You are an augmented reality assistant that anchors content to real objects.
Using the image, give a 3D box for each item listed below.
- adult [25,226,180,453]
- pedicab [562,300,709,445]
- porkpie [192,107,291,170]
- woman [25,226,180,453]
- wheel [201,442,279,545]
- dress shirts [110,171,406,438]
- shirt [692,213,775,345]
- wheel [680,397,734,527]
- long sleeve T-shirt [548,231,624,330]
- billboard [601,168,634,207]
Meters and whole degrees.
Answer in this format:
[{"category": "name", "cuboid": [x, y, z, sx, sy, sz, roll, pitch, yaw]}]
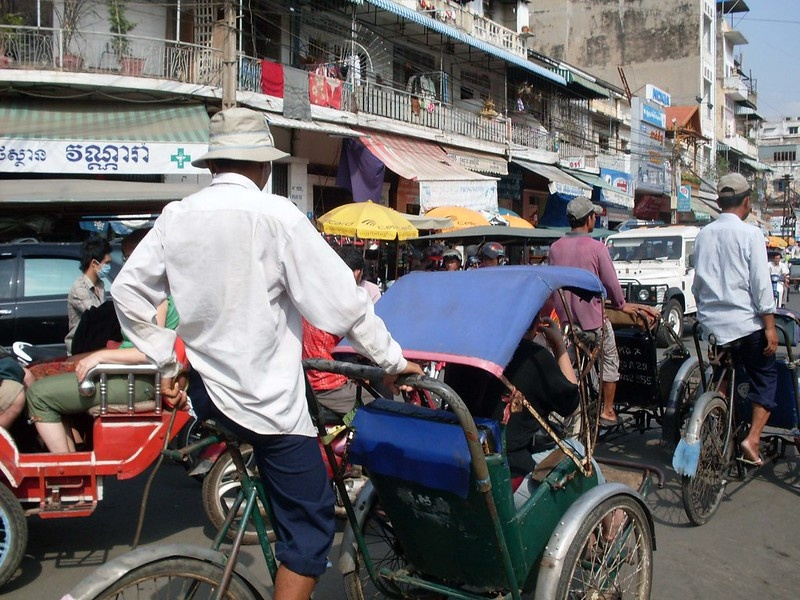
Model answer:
[{"category": "adult", "cuboid": [-2.228, 0.426, 6.318, 0.923, 1.856, 0.696, 1, 12, -21]}, {"category": "pedicab", "cuboid": [2.089, 0.644, 7.947, 1.555, 1.259, 0.972, 0, 1, -41]}, {"category": "porkpie", "cuboid": [-0.936, -0.911, 4.920, 0.567, 0.335, 0.576, -6, 7, -9]}, {"category": "woman", "cuboid": [-2.237, 0.500, 6.394, 1.014, 2.009, 0.755, 5, 1, -32]}, {"category": "wheel", "cuboid": [-1.181, 1.318, 6.323, 0.201, 0.863, 0.806, -8, -4, 31]}, {"category": "dress shirts", "cuboid": [-0.831, -0.036, 5.047, 1.495, 1.938, 1.007, -6, 9, -3]}, {"category": "shirt", "cuboid": [2.640, -0.179, 6.987, 0.610, 1.085, 0.368, 9, 25, 41]}, {"category": "wheel", "cuboid": [2.379, 1.197, 6.686, 0.194, 0.983, 0.738, 10, 14, 41]}, {"category": "long sleeve T-shirt", "cuboid": [1.629, -0.231, 7.777, 0.698, 0.859, 0.428, 5, 13, 29]}, {"category": "billboard", "cuboid": [7.598, -3.788, 29.980, 0.227, 1.189, 1.762, -26, 24, -13]}]
